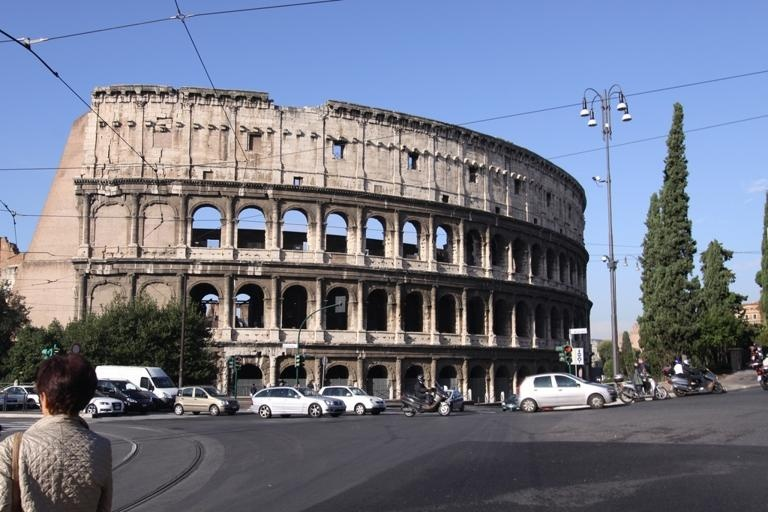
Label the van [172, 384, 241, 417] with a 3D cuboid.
[{"bbox_3d":[-9.360,7.554,49.558,3.144,1.590,1.392,-6,-13,23],"label":"van"}]

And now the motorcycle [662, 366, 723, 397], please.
[{"bbox_3d":[14.746,5.873,44.599,3.185,1.578,1.104,-3,-4,-14],"label":"motorcycle"}]

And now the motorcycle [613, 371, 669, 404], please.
[{"bbox_3d":[11.765,6.186,43.845,2.499,1.369,1.064,-5,-9,-20],"label":"motorcycle"}]

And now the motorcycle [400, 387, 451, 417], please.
[{"bbox_3d":[2.029,6.937,45.150,2.337,1.381,0.997,5,-13,-21],"label":"motorcycle"}]
